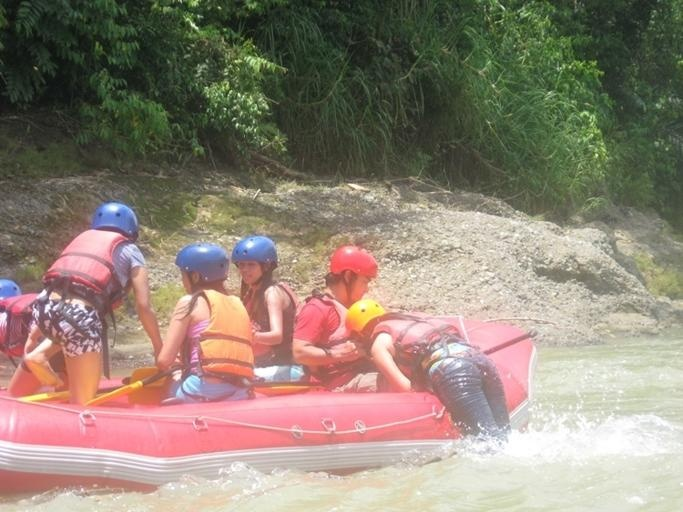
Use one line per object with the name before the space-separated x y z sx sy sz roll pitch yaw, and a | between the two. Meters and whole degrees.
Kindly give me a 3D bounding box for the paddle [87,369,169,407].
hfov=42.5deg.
paddle | -2.693 1.691 11.091 1.027 0.154 0.125 -20 -14 -23
